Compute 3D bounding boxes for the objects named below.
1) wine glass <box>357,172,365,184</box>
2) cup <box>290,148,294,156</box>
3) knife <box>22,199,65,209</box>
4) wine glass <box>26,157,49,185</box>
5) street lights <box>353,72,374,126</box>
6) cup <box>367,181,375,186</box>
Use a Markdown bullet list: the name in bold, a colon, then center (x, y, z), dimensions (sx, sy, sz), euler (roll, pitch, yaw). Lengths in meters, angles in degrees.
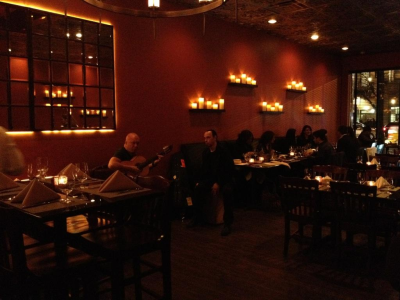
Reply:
- **wine glass**: center (2.190, 0.379, 4.577), dimensions (0.083, 0.194, 0.251), euler (4, 12, 28)
- **cup**: center (2.215, 0.057, 8.104), dimensions (0.157, 0.152, 0.272), euler (1, -2, 15)
- **knife**: center (-1.473, 0.485, 3.155), dimensions (0.347, 0.051, 0.101), euler (-9, 13, -35)
- **wine glass**: center (-1.989, 0.256, 4.114), dimensions (0.302, 0.342, 0.323), euler (2, -9, -4)
- **street lights**: center (5.903, -1.726, 12.128), dimensions (0.809, 2.140, 0.156), euler (2, -3, 1)
- **cup**: center (2.367, 0.461, 4.663), dimensions (0.095, 0.089, 0.099), euler (-2, 1, 0)
